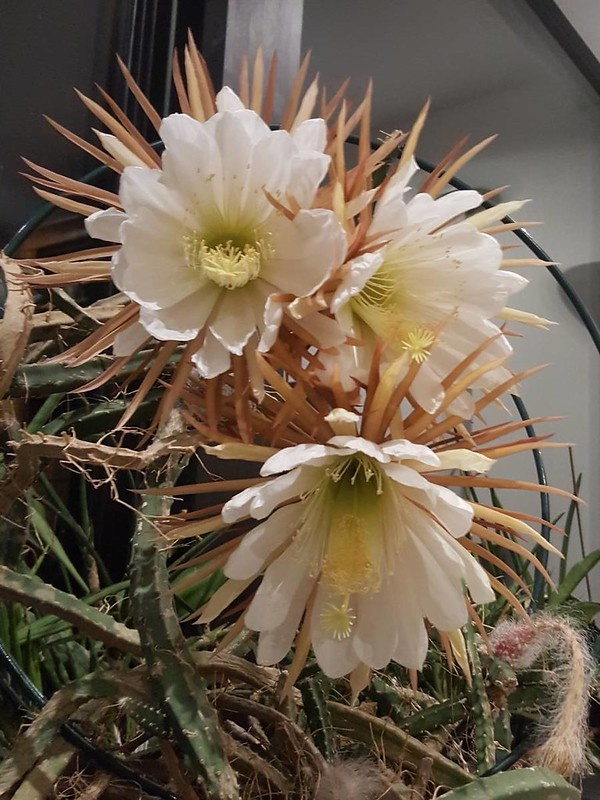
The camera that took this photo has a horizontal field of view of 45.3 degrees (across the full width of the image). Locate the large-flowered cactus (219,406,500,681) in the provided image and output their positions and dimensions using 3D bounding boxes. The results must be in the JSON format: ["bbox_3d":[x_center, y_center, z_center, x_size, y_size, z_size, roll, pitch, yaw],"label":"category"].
[{"bbox_3d":[0.023,0.078,0.364,0.129,0.135,0.102,17,-14,-34],"label":"large-flowered cactus"}]

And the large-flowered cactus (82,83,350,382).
[{"bbox_3d":[-0.035,-0.080,0.361,0.114,0.115,0.060,8,-13,0],"label":"large-flowered cactus"}]
